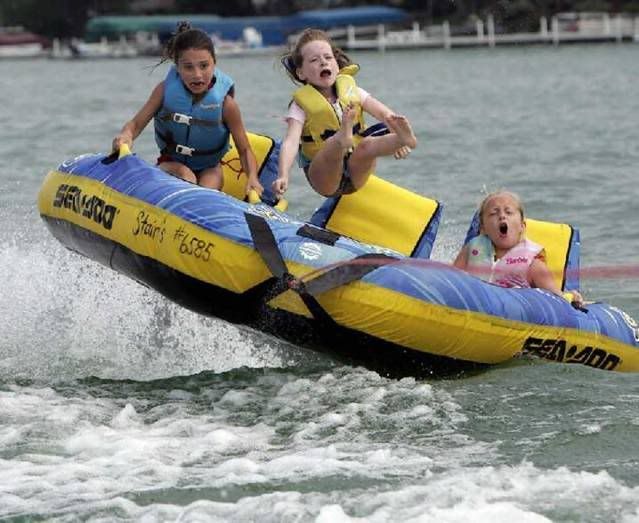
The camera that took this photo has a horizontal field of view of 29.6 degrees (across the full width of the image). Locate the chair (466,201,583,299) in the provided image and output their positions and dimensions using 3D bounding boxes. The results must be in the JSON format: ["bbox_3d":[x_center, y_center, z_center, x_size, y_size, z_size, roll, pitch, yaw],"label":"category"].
[{"bbox_3d":[1.301,-0.049,7.744,0.846,0.420,0.256,11,-14,27],"label":"chair"}]

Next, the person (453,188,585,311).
[{"bbox_3d":[1.222,-0.095,7.768,1.273,0.586,0.551,11,12,29],"label":"person"}]

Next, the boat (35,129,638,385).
[{"bbox_3d":[0.082,-0.002,7.370,3.596,1.305,1.032,0,11,0],"label":"boat"}]

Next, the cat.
[{"bbox_3d":[1.127,-0.905,7.794,0.461,1.100,0.397,14,52,-23],"label":"cat"}]

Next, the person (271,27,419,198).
[{"bbox_3d":[0.107,-0.962,7.591,0.873,0.952,1.106,-9,4,-28],"label":"person"}]
